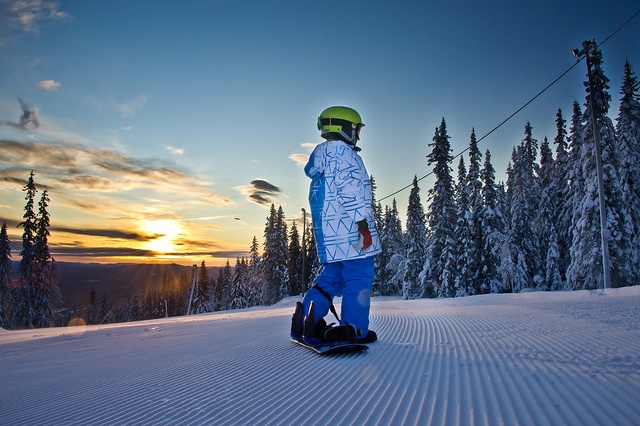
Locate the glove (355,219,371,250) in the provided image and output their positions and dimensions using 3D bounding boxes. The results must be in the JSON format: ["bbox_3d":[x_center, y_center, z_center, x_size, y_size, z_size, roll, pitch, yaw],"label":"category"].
[{"bbox_3d":[0.870,0.438,9.104,0.377,0.535,0.187,22,13,4],"label":"glove"}]
